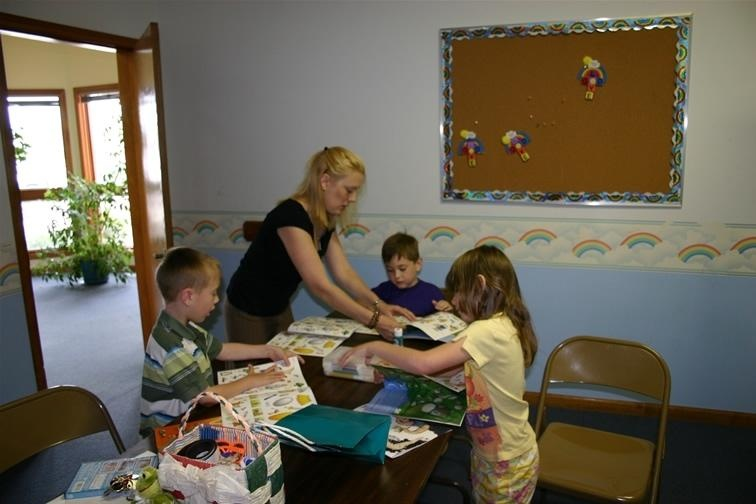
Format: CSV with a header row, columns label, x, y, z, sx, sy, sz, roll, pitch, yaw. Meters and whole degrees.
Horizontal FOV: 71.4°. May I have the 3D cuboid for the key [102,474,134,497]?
label,x,y,z,sx,sy,sz,roll,pitch,yaw
key,-0.948,0.847,1.911,0.082,0.027,0.061,-4,44,-36

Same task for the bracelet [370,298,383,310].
label,x,y,z,sx,sy,sz,roll,pitch,yaw
bracelet,-0.010,0.288,2.921,0.048,0.035,0.048,1,7,-11

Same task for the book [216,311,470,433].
label,x,y,z,sx,sy,sz,roll,pitch,yaw
book,-0.129,0.555,2.383,0.596,0.145,0.631,5,14,21

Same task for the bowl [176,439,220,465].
label,x,y,z,sx,sy,sz,roll,pitch,yaw
bowl,-0.638,0.702,1.875,0.137,0.045,0.072,2,11,11

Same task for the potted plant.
label,x,y,z,sx,sy,sz,roll,pitch,yaw
potted plant,-4.015,-0.286,7.184,1.298,1.428,0.737,3,12,15
